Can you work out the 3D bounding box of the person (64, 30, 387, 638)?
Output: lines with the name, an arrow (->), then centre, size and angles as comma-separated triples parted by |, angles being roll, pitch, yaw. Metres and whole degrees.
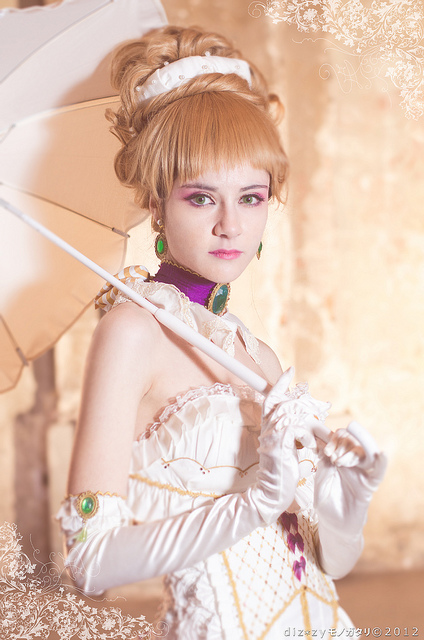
person -> 0.025, 0.030, 1.303 | 0.614, 1.043, 0.936 | 4, 27, -12
